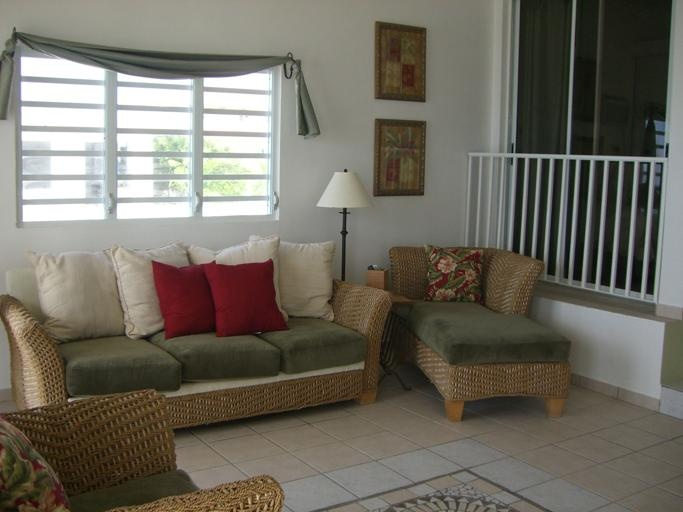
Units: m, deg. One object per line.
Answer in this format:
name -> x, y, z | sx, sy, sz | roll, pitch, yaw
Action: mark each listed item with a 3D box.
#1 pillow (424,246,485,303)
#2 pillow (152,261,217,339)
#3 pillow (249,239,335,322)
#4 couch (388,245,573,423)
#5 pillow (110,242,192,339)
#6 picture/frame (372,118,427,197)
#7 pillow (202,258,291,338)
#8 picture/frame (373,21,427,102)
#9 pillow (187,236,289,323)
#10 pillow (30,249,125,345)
pillow -> 0.969, 0.177, 4.758 | 0.442, 0.467, 0.166 | 1, -9, 3
pillow -> -1.075, 0.310, 3.786 | 0.495, 0.477, 0.149 | -5, -13, -44
pillow -> -0.303, 0.194, 4.534 | 0.649, 0.646, 0.369 | 2, 3, 28
couch -> 1.094, 0.559, 4.602 | 1.013, 1.150, 1.648 | 0, 7, -12
pillow -> -1.296, 0.267, 3.772 | 0.249, 0.463, 0.517 | 9, 18, 29
picture/frame -> 0.521, -0.952, 5.255 | 0.727, 0.947, 0.063 | -2, 5, -32
pillow -> -0.613, 0.404, 4.042 | 0.661, 0.179, 0.701 | -7, 14, -14
picture/frame -> 0.520, -1.828, 5.159 | 0.755, 0.888, 0.064 | -2, 5, -33
pillow -> -0.659, 0.229, 4.220 | 0.205, 0.516, 0.548 | -26, -20, 33
pillow -> -1.749, 0.249, 3.729 | 0.305, 0.523, 0.575 | 17, 12, 25
